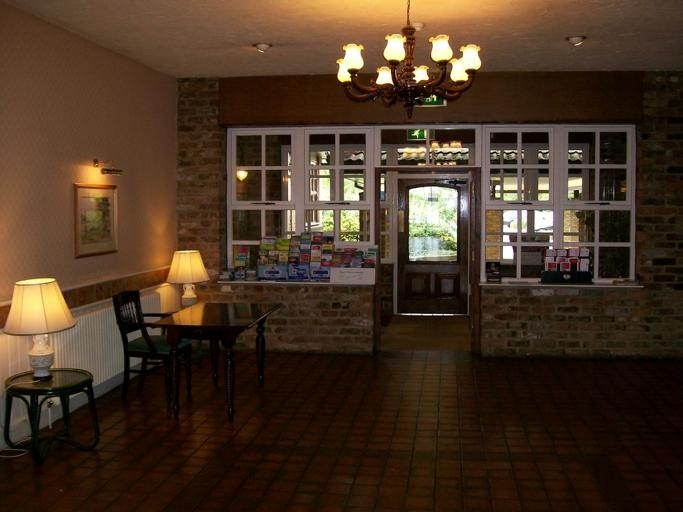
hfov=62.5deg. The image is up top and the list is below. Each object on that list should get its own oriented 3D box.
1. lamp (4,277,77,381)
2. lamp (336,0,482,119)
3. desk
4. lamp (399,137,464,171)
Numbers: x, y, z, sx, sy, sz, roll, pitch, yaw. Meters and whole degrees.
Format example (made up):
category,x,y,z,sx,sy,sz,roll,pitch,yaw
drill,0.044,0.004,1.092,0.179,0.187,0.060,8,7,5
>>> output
category,x,y,z,sx,sy,sz,roll,pitch,yaw
lamp,-2.466,0.600,4.652,0.386,0.777,0.388,2,8,20
lamp,0.553,-1.757,5.291,1.110,1.077,1.984,0,7,0
desk,-1.230,1.044,5.921,0.963,0.963,1.288,1,7,9
lamp,1.660,-1.769,9.405,1.284,0.401,1.615,0,7,0
